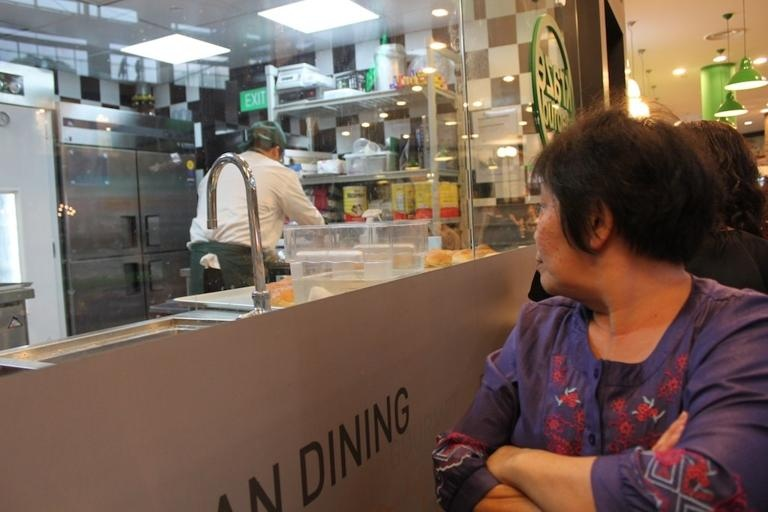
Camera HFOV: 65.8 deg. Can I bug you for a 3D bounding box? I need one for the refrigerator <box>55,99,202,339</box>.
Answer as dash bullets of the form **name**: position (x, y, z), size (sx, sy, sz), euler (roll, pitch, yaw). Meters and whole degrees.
- **refrigerator**: position (-0.612, -0.036, 1.395), size (0.202, 0.528, 0.303), euler (11, 14, 41)
